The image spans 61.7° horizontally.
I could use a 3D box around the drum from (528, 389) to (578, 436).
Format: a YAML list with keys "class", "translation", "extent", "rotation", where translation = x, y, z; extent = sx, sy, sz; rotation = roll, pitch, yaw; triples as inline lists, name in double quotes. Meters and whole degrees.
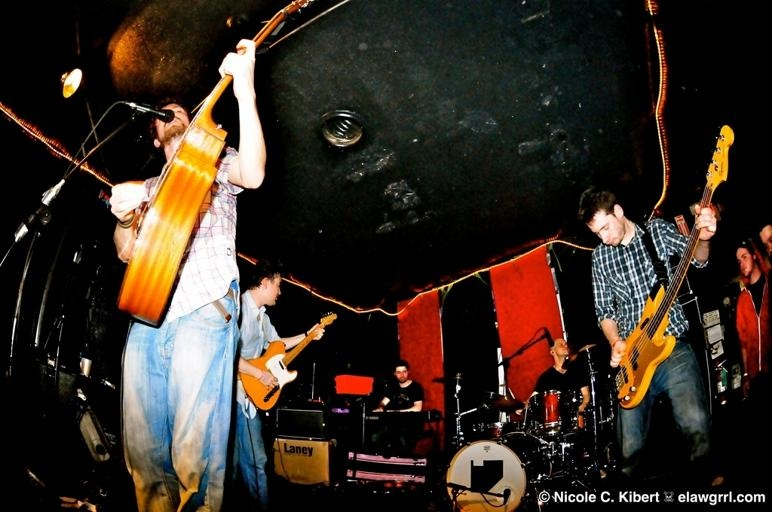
- class: "drum"
  translation: [1.975, 1.841, 7.508]
  extent: [0.482, 0.385, 0.507]
  rotation: [0, -22, 0]

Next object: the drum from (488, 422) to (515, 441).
- class: "drum"
  translation: [1.350, 2.042, 7.509]
  extent: [0.187, 0.123, 0.194]
  rotation: [-3, -23, -1]

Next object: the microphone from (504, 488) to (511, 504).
- class: "microphone"
  translation: [1.314, 2.608, 7.008]
  extent: [0.073, 0.154, 0.049]
  rotation: [1, -22, 9]

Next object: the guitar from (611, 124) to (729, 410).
- class: "guitar"
  translation: [2.659, 0.123, 6.096]
  extent: [0.292, 2.492, 1.319]
  rotation: [16, -25, -25]

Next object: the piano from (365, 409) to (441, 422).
- class: "piano"
  translation: [0.226, 2.140, 8.607]
  extent: [1.146, 0.136, 0.168]
  rotation: [-13, -28, 35]
